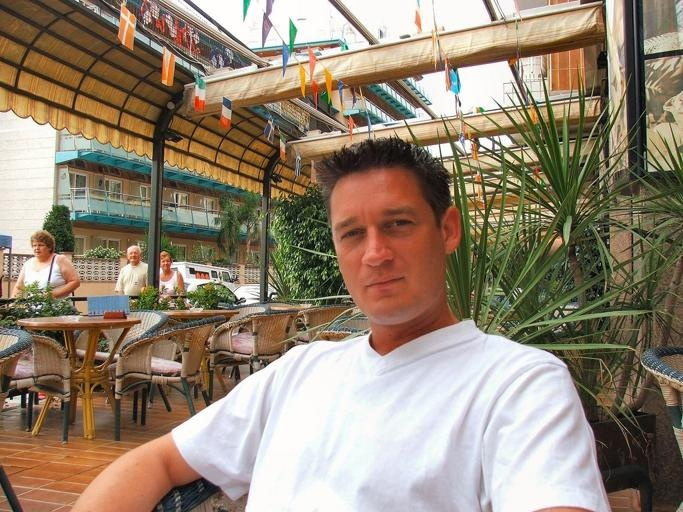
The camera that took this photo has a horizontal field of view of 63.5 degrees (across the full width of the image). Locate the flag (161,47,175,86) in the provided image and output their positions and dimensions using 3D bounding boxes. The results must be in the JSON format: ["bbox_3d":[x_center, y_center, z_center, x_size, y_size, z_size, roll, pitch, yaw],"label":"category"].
[{"bbox_3d":[-1.497,-1.645,4.772,0.087,0.460,0.387,-1,-4,-19],"label":"flag"}]
